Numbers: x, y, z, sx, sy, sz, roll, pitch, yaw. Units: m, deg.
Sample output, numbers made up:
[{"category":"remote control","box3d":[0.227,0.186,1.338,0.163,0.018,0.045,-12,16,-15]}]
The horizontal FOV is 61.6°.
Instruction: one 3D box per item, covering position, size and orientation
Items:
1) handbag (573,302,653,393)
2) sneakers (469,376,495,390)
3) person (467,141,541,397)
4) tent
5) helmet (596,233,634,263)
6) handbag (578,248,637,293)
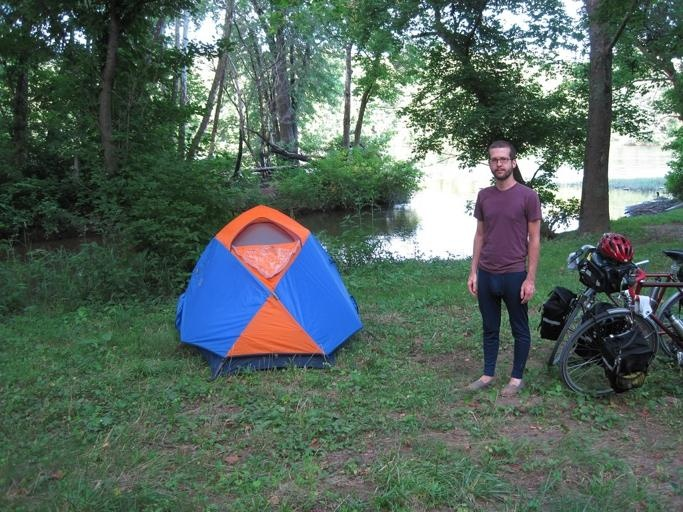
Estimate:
[{"category":"handbag","box3d":[3.200,1.059,6.688,0.595,0.818,0.840,14,18,-27]},{"category":"sneakers","box3d":[1.736,1.593,7.105,0.372,0.128,0.135,-14,5,-19]},{"category":"person","box3d":[1.963,0.161,6.908,0.833,3.056,0.482,0,6,18]},{"category":"tent","box3d":[-1.103,0.558,8.762,1.898,1.353,2.560,0,23,-6]},{"category":"helmet","box3d":[3.177,-0.099,6.716,0.284,0.194,0.410,-18,40,-2]},{"category":"handbag","box3d":[3.064,0.193,6.740,0.547,0.395,0.432,17,11,-4]}]
